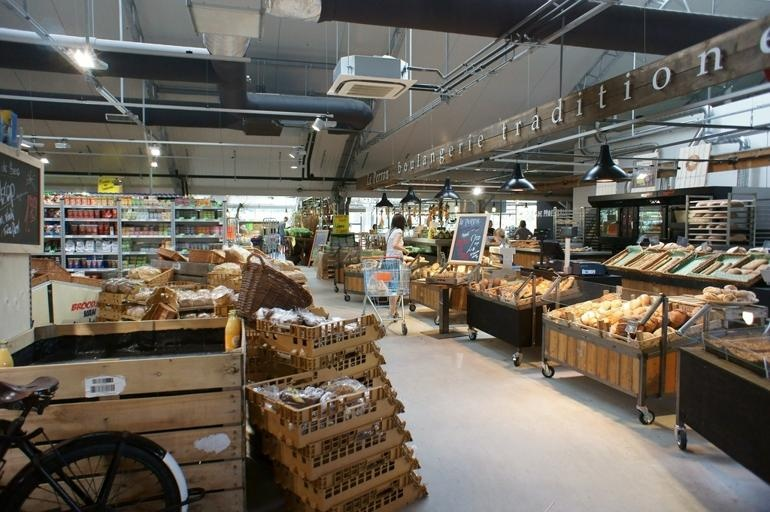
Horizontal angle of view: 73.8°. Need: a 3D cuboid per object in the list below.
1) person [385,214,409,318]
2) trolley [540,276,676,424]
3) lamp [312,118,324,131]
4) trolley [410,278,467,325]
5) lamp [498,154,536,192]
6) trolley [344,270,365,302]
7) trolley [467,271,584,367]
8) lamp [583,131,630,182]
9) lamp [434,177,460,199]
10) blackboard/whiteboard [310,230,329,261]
[{"bbox_3d":[0.247,0.210,9.327,0.616,2.020,0.601,2,-3,-12],"label":"person"},{"bbox_3d":[2.333,0.954,5.627,1.311,0.927,1.274,-3,5,-33],"label":"trolley"},{"bbox_3d":[-1.256,-2.462,9.582,0.250,0.239,0.621,0,13,-1],"label":"lamp"},{"bbox_3d":[0.976,0.788,9.009,0.740,0.500,1.170,4,2,-21],"label":"trolley"},{"bbox_3d":[2.411,-1.397,9.116,0.730,0.714,0.742,-1,3,-20],"label":"lamp"},{"bbox_3d":[-0.727,0.620,11.377,0.577,0.724,1.008,0,2,-7],"label":"trolley"},{"bbox_3d":[1.927,0.711,7.217,1.189,1.134,1.564,0,1,-7],"label":"trolley"},{"bbox_3d":[3.103,-1.382,7.288,0.701,0.694,0.684,-1,2,3],"label":"lamp"},{"bbox_3d":[1.400,-1.485,11.850,0.663,0.462,0.672,5,5,42],"label":"lamp"},{"bbox_3d":[-2.182,-0.304,16.938,0.114,1.266,1.094,8,0,-27],"label":"blackboard/whiteboard"}]
